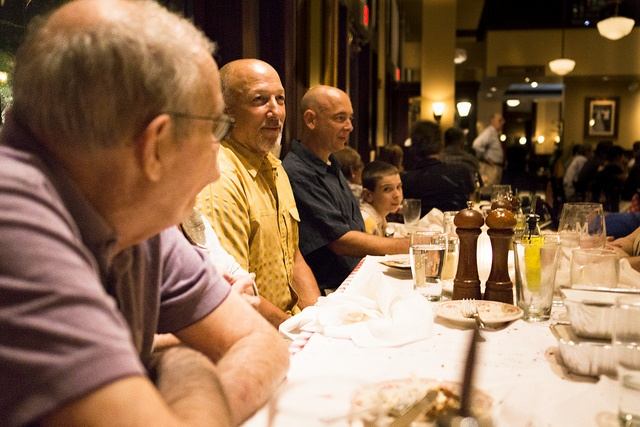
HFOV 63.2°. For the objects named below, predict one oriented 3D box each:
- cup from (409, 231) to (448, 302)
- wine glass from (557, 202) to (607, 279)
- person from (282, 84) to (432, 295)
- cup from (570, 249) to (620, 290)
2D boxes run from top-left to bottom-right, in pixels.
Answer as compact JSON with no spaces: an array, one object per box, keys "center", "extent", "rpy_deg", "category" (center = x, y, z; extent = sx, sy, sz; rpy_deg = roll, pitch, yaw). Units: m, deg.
[{"center":[0.388,0.185,1.899],"extent":[0.137,0.257,0.144],"rpy_deg":[-1,6,0],"category":"cup"},{"center":[1.100,0.152,2.208],"extent":[0.176,0.433,0.171],"rpy_deg":[4,19,25],"category":"wine glass"},{"center":[0.210,0.059,3.219],"extent":[0.851,1.669,0.868],"rpy_deg":[-2,10,18],"category":"person"},{"center":[0.830,0.157,1.628],"extent":[0.131,0.149,0.136],"rpy_deg":[1,-1,0],"category":"cup"}]
